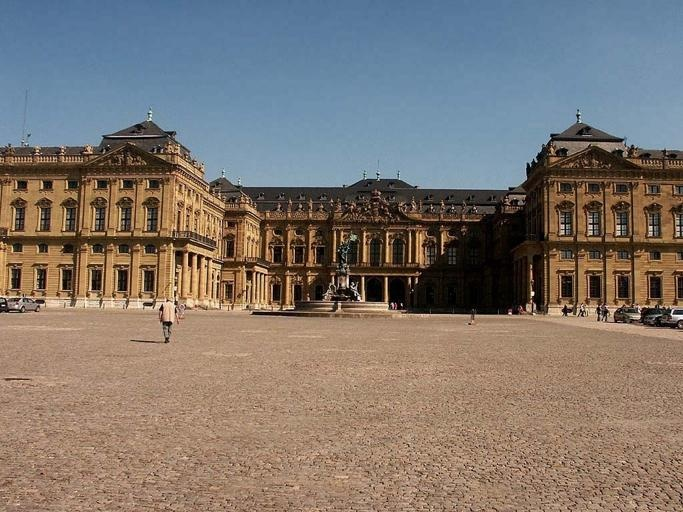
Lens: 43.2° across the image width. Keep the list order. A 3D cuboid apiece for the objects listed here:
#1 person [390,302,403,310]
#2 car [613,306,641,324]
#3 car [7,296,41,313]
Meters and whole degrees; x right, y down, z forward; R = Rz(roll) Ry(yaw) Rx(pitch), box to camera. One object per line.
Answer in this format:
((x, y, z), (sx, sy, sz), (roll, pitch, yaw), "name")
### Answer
((6.897, 6.422, 107.585), (1.580, 0.566, 1.505), (0, 0, -2), "person")
((20.392, 4.230, 61.449), (1.047, 0.738, 2.364), (-1, -7, 5), "car")
((-21.483, 3.358, 58.416), (1.907, 0.981, 2.831), (1, 1, -4), "car")
